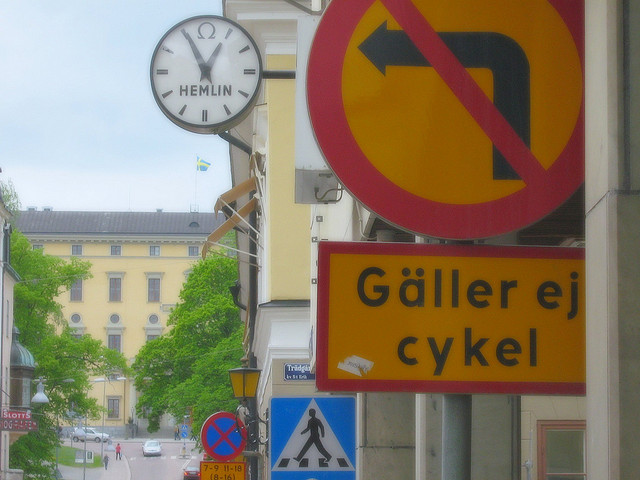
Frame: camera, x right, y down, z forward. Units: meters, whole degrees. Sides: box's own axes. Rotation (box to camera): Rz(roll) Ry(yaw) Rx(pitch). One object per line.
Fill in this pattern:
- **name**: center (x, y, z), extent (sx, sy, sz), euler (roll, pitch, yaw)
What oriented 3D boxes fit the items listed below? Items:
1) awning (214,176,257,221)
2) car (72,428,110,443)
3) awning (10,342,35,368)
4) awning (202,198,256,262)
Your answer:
- **awning**: center (-2.680, -1.371, 63.041), extent (0.417, 1.064, 1.825), euler (22, 33, 37)
- **car**: center (-13.298, 11.409, 115.263), extent (1.756, 0.839, 1.110), euler (-3, -5, 2)
- **awning**: center (-13.044, 5.073, 86.252), extent (0.947, 1.023, 1.004), euler (-1, -14, -2)
- **awning**: center (-2.835, -0.438, 62.676), extent (1.470, 1.843, 2.163), euler (-7, -14, 27)
